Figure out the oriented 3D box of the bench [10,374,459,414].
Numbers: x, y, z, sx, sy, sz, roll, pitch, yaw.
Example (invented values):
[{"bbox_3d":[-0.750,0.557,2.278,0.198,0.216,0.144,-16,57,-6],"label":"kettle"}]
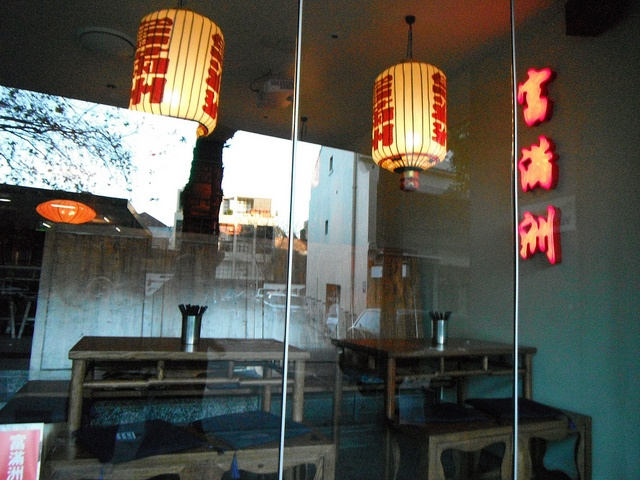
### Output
[{"bbox_3d":[-0.276,0.533,1.930,1.564,0.122,0.116,4,-9,-20],"label":"bench"}]
